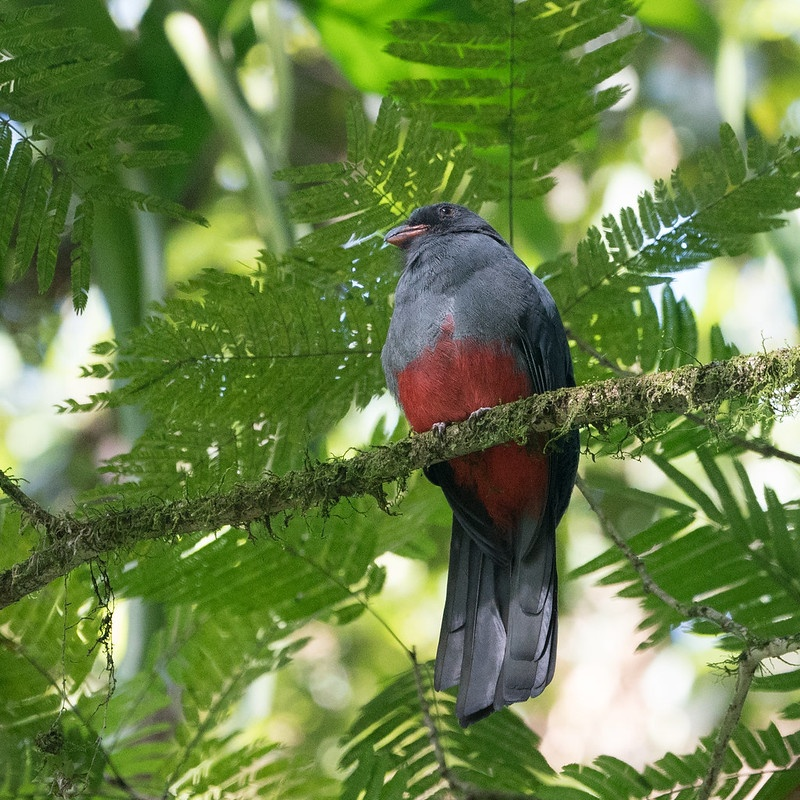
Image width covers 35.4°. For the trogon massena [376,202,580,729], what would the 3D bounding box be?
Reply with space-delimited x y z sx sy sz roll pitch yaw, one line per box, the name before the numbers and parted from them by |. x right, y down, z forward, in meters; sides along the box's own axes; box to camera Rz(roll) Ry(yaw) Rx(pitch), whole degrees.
trogon massena | 0.398 0.292 4.672 0.625 2.003 0.879 -7 12 3
